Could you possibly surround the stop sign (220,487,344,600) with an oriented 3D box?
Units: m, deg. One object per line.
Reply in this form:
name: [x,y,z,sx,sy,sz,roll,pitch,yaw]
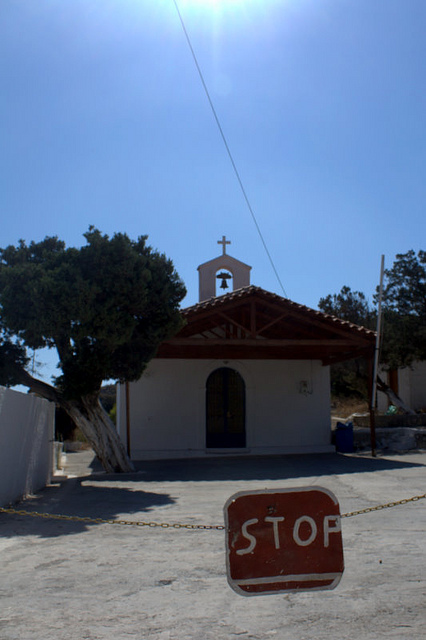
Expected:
stop sign: [0.381,1.218,3.540,0.876,0.817,0.124,0,-9,-7]
